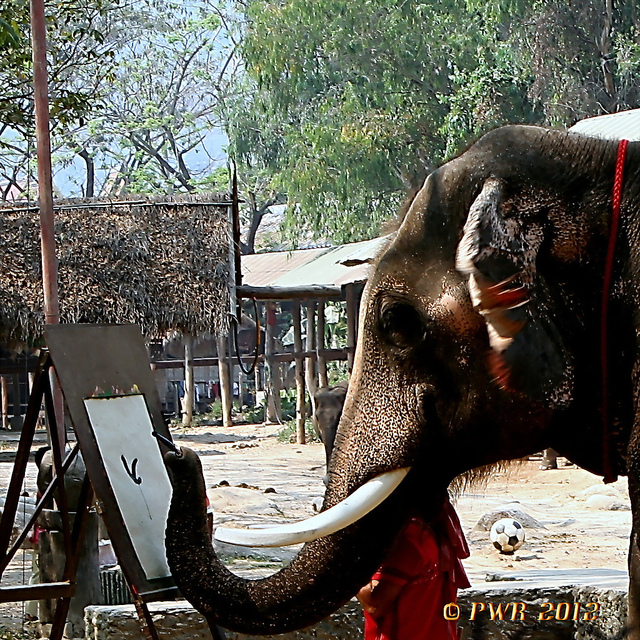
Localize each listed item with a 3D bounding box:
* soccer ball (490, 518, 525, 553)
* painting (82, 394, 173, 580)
[{"bbox_3d":[1.122,1.288,7.795,0.180,0.180,0.187,-2,-6,0],"label":"soccer ball"},{"bbox_3d":[-0.676,0.594,4.770,0.272,0.478,0.438,-6,3,-26],"label":"painting"}]
